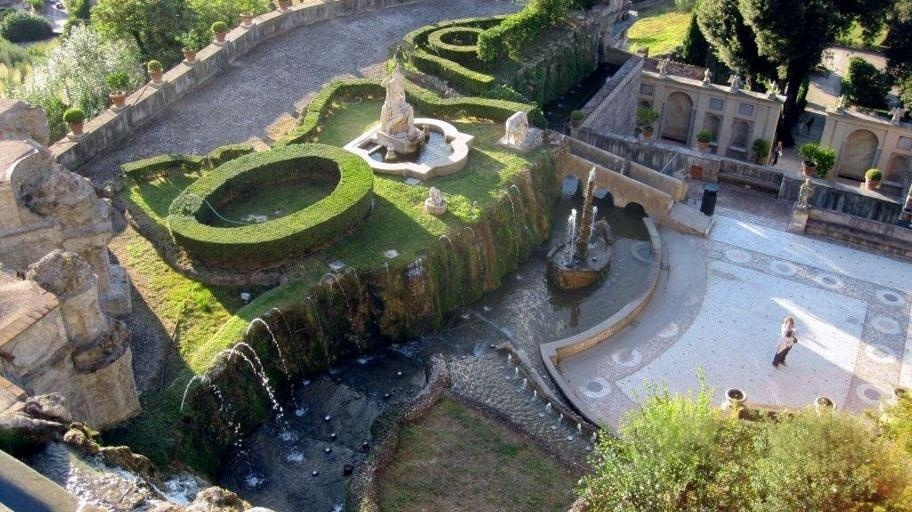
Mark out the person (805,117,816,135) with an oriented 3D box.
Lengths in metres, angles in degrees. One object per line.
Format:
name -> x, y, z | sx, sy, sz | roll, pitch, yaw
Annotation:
person -> 35.550, -13.152, 70.854 | 1.069, 1.916, 0.421 | 25, -4, -30

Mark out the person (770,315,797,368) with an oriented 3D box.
person -> 21.697, 5.822, 46.759 | 1.152, 3.230, 1.134 | -4, 57, 19

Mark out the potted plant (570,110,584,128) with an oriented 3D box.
potted plant -> 10.719, -12.258, 62.605 | 1.206, 1.036, 1.194 | -14, 41, -16

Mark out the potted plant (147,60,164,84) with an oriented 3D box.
potted plant -> -24.802, -15.385, 58.112 | 1.052, 1.522, 1.646 | -17, 42, -19

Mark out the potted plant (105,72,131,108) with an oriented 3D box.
potted plant -> -26.670, -13.198, 55.539 | 1.187, 2.174, 2.127 | -2, 39, -1

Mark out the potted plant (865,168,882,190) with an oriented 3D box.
potted plant -> 35.133, -6.500, 59.393 | 1.386, 1.500, 1.394 | 25, 43, 33
